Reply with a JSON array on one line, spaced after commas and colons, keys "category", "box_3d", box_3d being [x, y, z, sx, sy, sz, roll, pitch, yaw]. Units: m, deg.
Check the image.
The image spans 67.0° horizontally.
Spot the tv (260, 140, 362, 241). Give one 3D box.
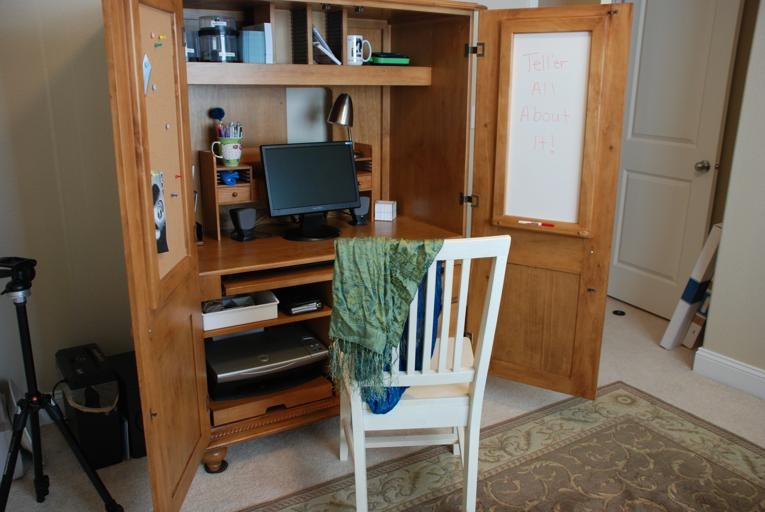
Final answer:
[{"category": "tv", "box_3d": [-0.414, -0.375, 3.228, 0.534, 0.477, 0.290, -7, 17, -27]}]

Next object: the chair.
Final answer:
[{"category": "chair", "box_3d": [0.141, 0.493, 2.696, 0.729, 1.322, 0.687, -2, 18, -4]}]
